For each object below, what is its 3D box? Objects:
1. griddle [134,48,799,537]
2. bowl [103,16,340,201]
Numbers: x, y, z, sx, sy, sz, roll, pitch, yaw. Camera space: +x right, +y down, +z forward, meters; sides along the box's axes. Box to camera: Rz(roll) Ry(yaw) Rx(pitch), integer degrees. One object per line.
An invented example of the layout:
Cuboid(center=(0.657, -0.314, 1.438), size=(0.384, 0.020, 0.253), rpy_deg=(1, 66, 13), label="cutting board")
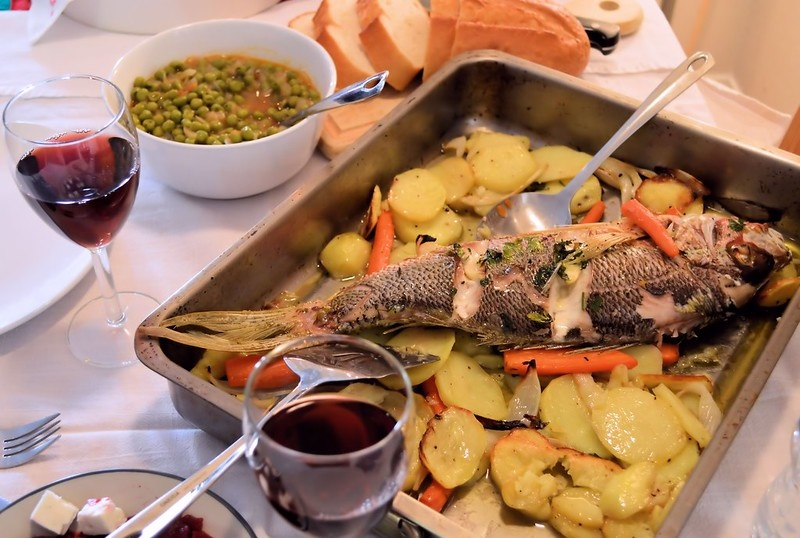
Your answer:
Cuboid(center=(0.026, -0.068, 2.224), size=(1.589, 0.357, 1.699), rpy_deg=(25, 52, 24), label="griddle")
Cuboid(center=(-0.580, -0.551, 2.251), size=(0.669, 0.321, 0.695), rpy_deg=(1, 45, -1), label="bowl")
